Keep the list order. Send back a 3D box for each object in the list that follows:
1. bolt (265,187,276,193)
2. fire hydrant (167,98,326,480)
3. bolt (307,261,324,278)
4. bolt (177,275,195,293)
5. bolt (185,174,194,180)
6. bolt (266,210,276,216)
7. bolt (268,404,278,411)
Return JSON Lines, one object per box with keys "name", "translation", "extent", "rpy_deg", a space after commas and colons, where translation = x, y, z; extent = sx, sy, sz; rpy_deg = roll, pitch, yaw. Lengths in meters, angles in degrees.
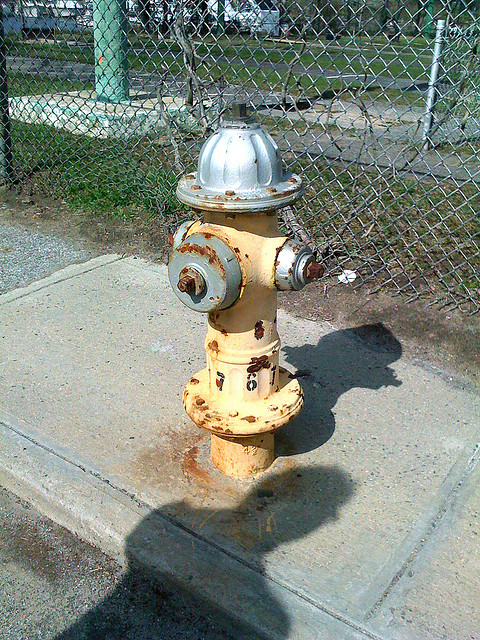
{"name": "bolt", "translation": [0.099, -0.408, 1.984], "extent": [0.024, 0.005, 0.021], "rpy_deg": [-7, 29, -12]}
{"name": "fire hydrant", "translation": [0.016, -0.030, 2.247], "extent": [0.520, 1.395, 0.487], "rpy_deg": [-1, 33, -6]}
{"name": "bolt", "translation": [0.250, -0.163, 2.087], "extent": [0.057, 0.048, 0.089], "rpy_deg": [-9, 5, -5]}
{"name": "bolt", "translation": [-0.167, -0.115, 1.982], "extent": [0.056, 0.048, 0.057], "rpy_deg": [-4, 19, 8]}
{"name": "bolt", "translation": [-0.172, -0.496, 2.189], "extent": [0.031, 0.007, 0.029], "rpy_deg": [2, 31, -2]}
{"name": "bolt", "translation": [0.108, -0.355, 2.102], "extent": [0.024, 0.019, 0.016], "rpy_deg": [11, 15, -10]}
{"name": "bolt", "translation": [0.123, 0.320, 2.314], "extent": [0.022, 0.004, 0.019], "rpy_deg": [8, 29, 11]}
